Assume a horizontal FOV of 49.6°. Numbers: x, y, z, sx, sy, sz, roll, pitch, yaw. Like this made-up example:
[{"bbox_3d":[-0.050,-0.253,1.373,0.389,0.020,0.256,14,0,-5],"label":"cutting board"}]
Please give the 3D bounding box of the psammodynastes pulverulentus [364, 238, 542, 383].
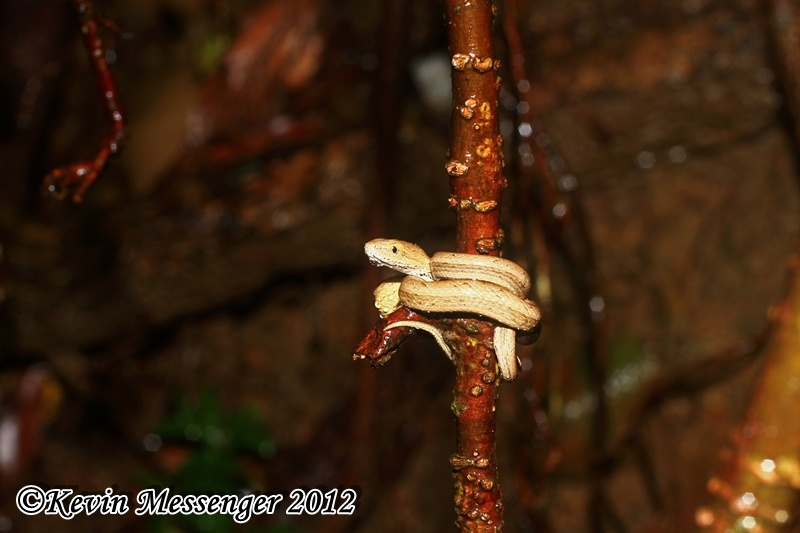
[{"bbox_3d":[0.295,0.147,4.599,0.996,0.311,0.705,21,45,17],"label":"psammodynastes pulverulentus"}]
